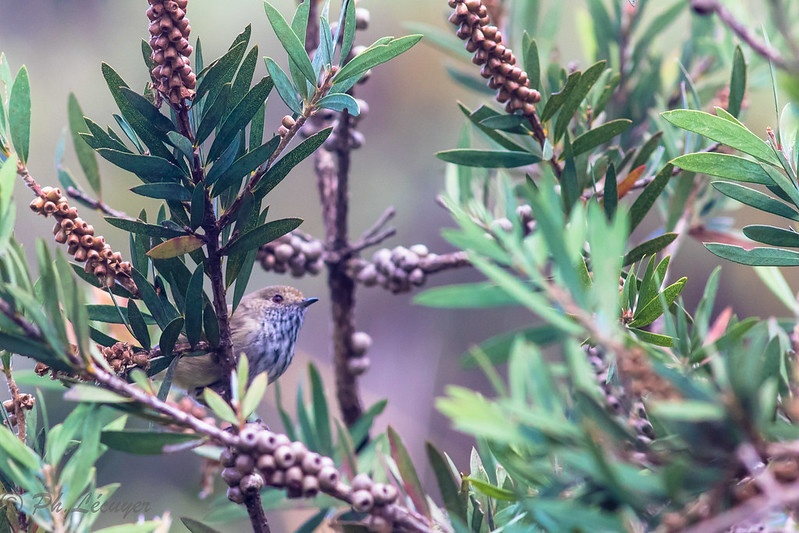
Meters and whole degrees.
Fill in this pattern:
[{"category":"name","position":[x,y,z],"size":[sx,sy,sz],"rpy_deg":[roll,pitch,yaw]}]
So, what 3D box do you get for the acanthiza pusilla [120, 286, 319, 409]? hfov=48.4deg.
[{"category":"acanthiza pusilla","position":[-0.632,0.321,3.508],"size":[0.563,0.496,0.322],"rpy_deg":[-4,-18,21]}]
